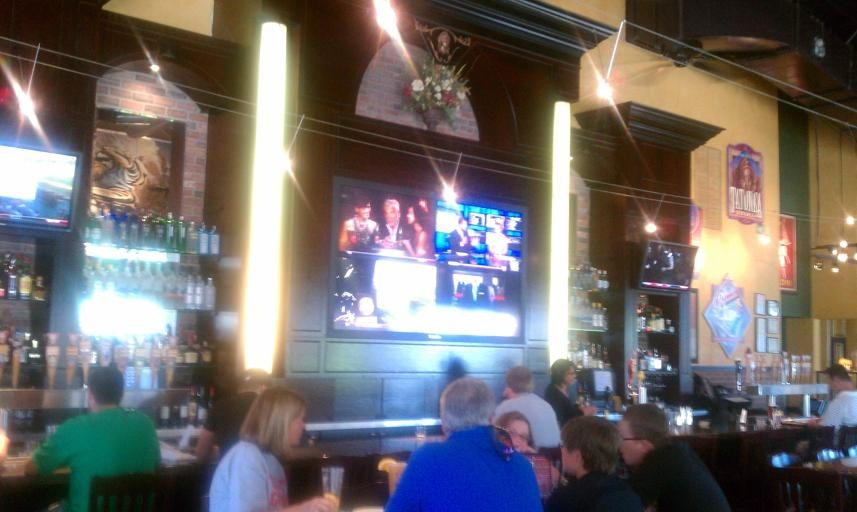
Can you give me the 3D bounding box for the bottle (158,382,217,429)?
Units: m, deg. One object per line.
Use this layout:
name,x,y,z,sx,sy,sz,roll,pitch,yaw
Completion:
bottle,-2.464,1.527,7.429,0.505,0.441,0.157,2,-5,-32

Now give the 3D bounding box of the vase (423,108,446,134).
vase,0.081,-1.611,8.754,0.312,0.220,0.307,2,0,12

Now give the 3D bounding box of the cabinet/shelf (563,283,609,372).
cabinet/shelf,2.077,0.960,9.832,0.685,1.093,0.345,9,-14,-34

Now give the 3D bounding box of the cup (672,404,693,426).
cup,3.118,1.918,8.904,0.270,0.258,0.255,1,-6,0

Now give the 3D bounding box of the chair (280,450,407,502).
chair,-0.726,1.760,5.890,0.902,0.436,0.583,6,-10,-27

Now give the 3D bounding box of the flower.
flower,0.076,-1.904,8.905,0.842,0.777,0.781,0,-1,-25

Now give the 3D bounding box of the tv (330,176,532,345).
tv,-0.069,0.071,8.433,2.206,1.355,0.089,3,-7,-23

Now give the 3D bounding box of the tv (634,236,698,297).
tv,3.282,0.131,10.198,1.251,0.688,0.210,5,-1,-41
